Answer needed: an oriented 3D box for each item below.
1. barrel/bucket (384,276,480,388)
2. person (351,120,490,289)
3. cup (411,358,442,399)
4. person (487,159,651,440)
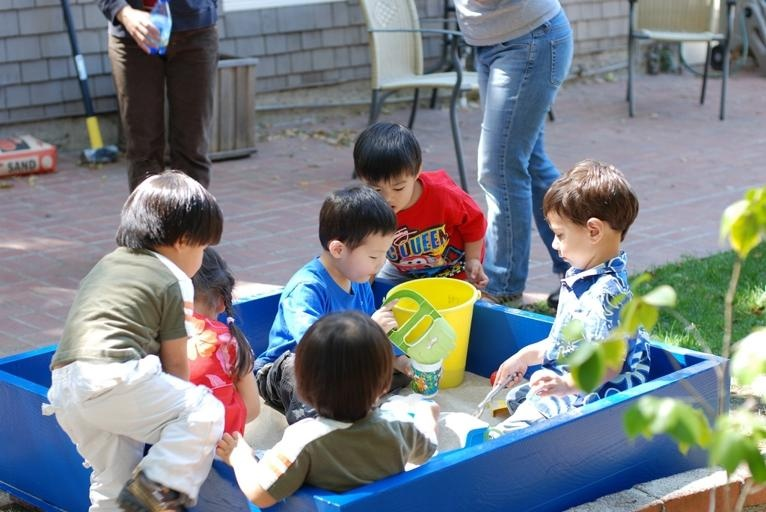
[{"bbox_3d":[0.239,0.355,3.725,0.466,0.447,0.491,-7,21,2],"label":"barrel/bucket"},{"bbox_3d":[0.147,-0.153,4.132,0.801,1.000,0.703,-6,18,-1],"label":"person"},{"bbox_3d":[0.189,0.536,3.505,0.124,0.137,0.125,2,33,-1],"label":"cup"},{"bbox_3d":[0.728,0.171,3.160,0.630,1.077,0.590,0,7,18],"label":"person"}]
